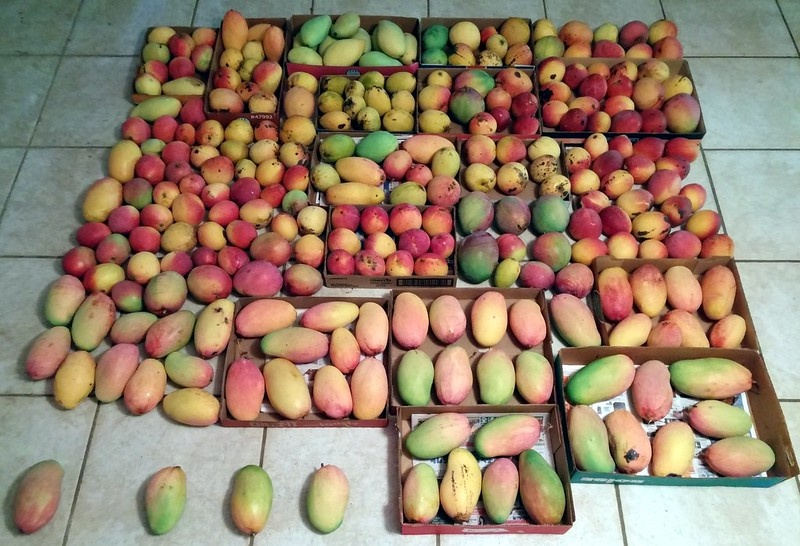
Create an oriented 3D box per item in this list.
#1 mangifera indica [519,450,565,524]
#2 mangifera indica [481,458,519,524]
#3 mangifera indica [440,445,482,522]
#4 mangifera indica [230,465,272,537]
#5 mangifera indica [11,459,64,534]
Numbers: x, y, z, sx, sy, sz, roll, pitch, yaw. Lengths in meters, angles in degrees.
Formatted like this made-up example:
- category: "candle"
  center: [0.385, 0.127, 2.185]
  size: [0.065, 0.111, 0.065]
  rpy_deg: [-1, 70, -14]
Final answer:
- category: "mangifera indica"
  center: [0.482, 0.734, 2.047]
  size: [0.140, 0.144, 0.218]
  rpy_deg: [-27, 60, 26]
- category: "mangifera indica"
  center: [0.343, 0.751, 2.048]
  size: [0.123, 0.121, 0.197]
  rpy_deg: [9, 73, -7]
- category: "mangifera indica"
  center: [0.208, 0.726, 2.032]
  size: [0.142, 0.130, 0.227]
  rpy_deg: [-5, 66, 7]
- category: "mangifera indica"
  center: [-0.514, 0.793, 2.111]
  size: [0.149, 0.142, 0.235]
  rpy_deg: [-11, 58, 2]
- category: "mangifera indica"
  center: [-1.294, 0.797, 2.097]
  size: [0.161, 0.143, 0.235]
  rpy_deg: [3, 67, -7]
